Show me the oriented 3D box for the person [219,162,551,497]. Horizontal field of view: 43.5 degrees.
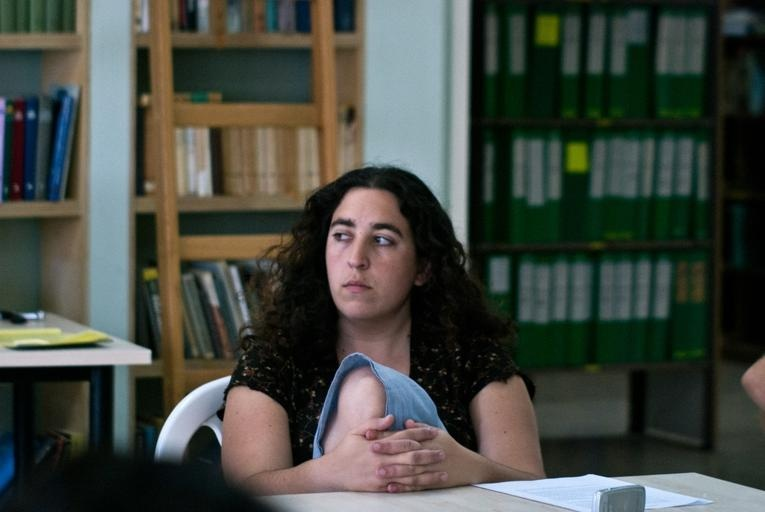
[{"bbox_3d":[0.001,0.203,3.034,1.010,0.995,0.725,0,1,-9],"label":"person"}]
